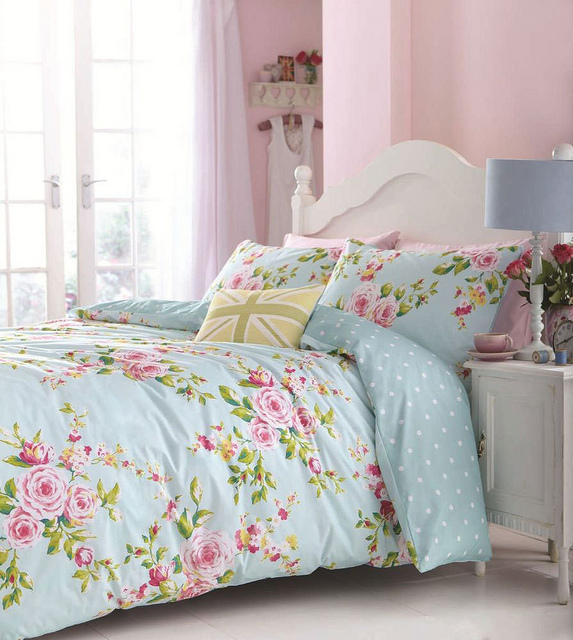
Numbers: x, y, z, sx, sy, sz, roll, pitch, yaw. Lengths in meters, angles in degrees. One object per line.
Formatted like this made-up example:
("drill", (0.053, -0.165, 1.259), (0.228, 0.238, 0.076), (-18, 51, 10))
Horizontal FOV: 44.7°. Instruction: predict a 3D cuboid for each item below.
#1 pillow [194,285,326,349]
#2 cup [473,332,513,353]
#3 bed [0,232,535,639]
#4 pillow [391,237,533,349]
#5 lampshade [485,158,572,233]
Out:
("pillow", (-0.103, -0.011, 2.176), (0.411, 0.239, 0.107), (2, -22, 32))
("cup", (0.552, 0.053, 1.844), (0.060, 0.036, 0.075), (-1, 4, -32))
("bed", (-0.091, 0.231, 1.826), (1.184, 0.679, 1.198), (-3, 5, -26))
("pillow", (0.497, -0.071, 2.071), (0.525, 0.348, 0.078), (-2, 3, -30))
("lampshade", (0.608, -0.311, 1.773), (0.190, 0.139, 0.210), (9, 12, 42))
